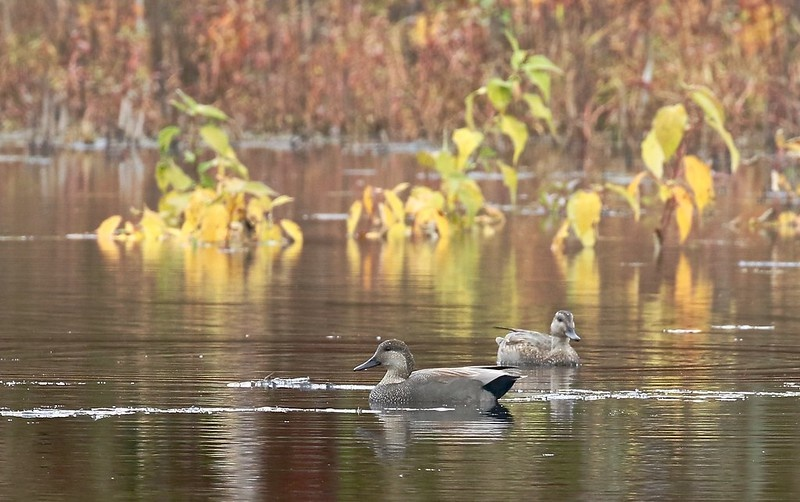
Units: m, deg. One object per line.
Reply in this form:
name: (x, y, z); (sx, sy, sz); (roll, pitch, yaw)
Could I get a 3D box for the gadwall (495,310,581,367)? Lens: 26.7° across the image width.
gadwall: (1.148, 0.728, 14.058); (0.673, 0.404, 0.399); (-1, 1, 37)

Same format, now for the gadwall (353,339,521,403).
gadwall: (0.360, 0.943, 13.092); (1.281, 0.570, 0.507); (-3, 1, -4)
